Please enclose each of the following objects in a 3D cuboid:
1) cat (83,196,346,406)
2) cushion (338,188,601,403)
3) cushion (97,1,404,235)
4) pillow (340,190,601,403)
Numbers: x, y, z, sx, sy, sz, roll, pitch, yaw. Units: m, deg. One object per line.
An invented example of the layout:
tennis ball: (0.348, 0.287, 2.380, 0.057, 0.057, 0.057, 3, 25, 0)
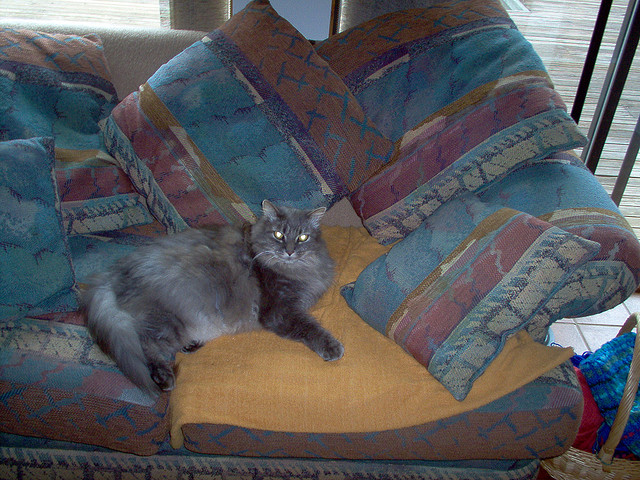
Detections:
cat: (-0.412, 0.188, 2.571, 1.195, 0.817, 0.399, -11, -45, -35)
cushion: (0.570, 0.156, 2.223, 0.808, 0.189, 0.801, -44, 42, -11)
cushion: (-0.281, -0.514, 2.624, 1.065, 1.060, 0.289, -40, -3, -5)
pillow: (0.561, 0.182, 2.225, 0.804, 0.191, 0.795, -43, 41, -10)
